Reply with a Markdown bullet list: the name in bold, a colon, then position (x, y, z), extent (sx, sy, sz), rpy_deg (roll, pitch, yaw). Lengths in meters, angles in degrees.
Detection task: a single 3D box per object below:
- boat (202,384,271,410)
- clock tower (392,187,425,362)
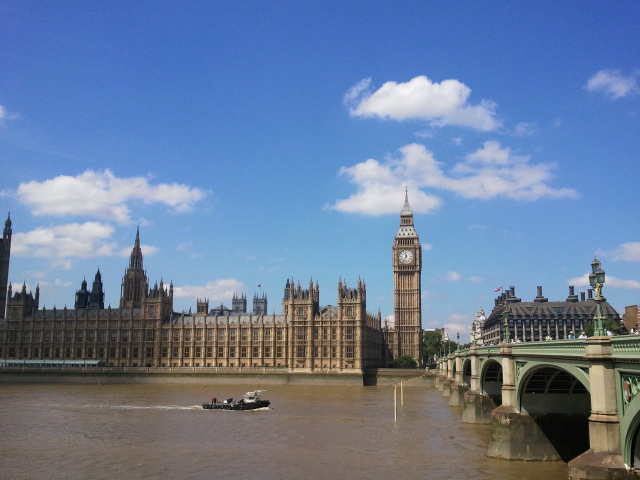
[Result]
- **boat**: position (-11.498, 22.803, 99.269), extent (7.785, 2.467, 5.310), rpy_deg (10, -17, -38)
- **clock tower**: position (24.597, 10.563, 198.021), extent (8.264, 48.030, 12.726), rpy_deg (-1, -13, 6)
